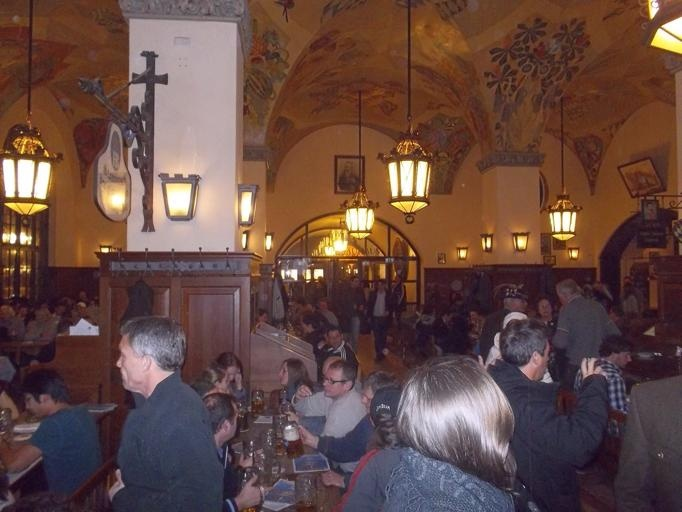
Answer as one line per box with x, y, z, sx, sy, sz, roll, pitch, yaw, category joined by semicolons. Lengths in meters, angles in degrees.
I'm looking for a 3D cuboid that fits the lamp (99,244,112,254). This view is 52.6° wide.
-4.907;-0.146;14.454;0.256;0.276;0.233;-1;-7;-4;lamp

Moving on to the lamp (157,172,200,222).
-1.960;-0.706;8.545;0.500;0.583;0.523;0;-5;-5;lamp

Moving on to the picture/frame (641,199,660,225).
5.664;-0.790;12.652;0.420;0.642;0.087;0;-3;5;picture/frame

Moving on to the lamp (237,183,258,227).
-1.279;-0.733;9.600;0.258;0.639;0.659;1;-4;-7;lamp

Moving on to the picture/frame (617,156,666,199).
7.542;-1.983;17.424;0.433;0.965;1.408;1;-5;-7;picture/frame

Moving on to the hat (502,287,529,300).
2.275;0.497;8.944;0.336;0.186;0.297;1;-2;1;hat
